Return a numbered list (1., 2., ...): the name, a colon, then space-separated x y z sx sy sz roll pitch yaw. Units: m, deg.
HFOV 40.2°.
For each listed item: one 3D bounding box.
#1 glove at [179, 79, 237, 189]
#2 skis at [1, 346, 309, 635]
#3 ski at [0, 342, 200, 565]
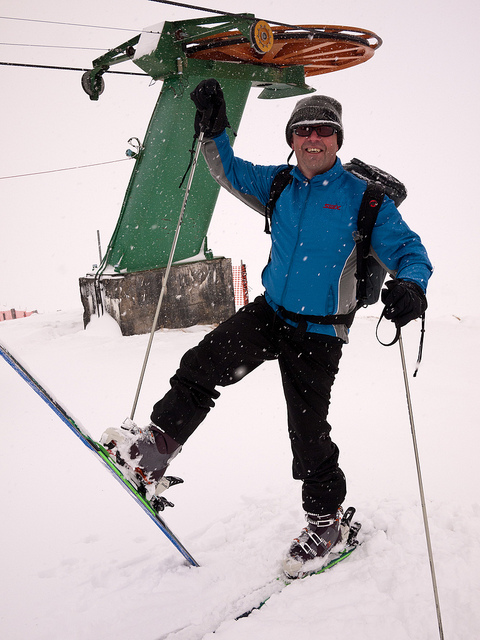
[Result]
1. glove: -0.172 -1.154 3.754 0.188 0.380 0.133 -8 6 -17
2. skis: -0.538 1.127 4.204 0.267 0.116 2.385 -21 43 -33
3. ski: -1.027 0.995 4.690 0.102 1.553 0.217 -41 -7 -2
